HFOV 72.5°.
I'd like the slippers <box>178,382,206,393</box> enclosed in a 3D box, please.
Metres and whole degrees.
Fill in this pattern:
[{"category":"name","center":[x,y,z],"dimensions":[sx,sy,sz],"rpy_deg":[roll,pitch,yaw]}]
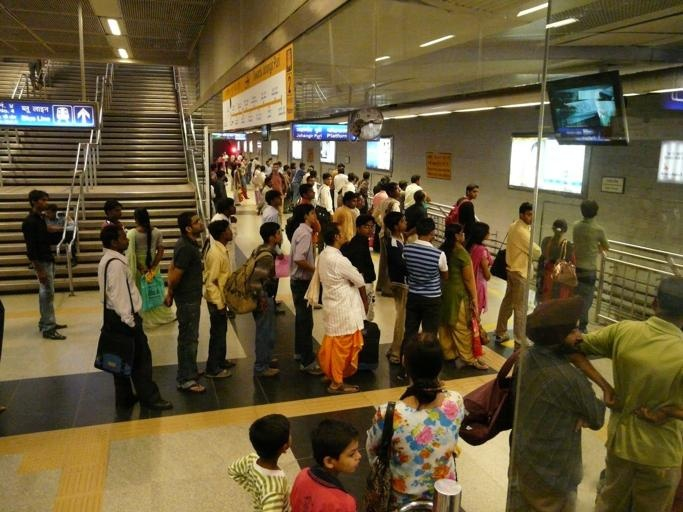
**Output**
[{"category":"slippers","center":[-1.745,1.528,5.470],"dimensions":[0.240,0.090,0.130],"rpy_deg":[2,8,-5]}]

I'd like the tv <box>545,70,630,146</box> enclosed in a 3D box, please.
[{"category":"tv","center":[0.952,-0.595,1.832],"dimensions":[0.268,0.284,0.037],"rpy_deg":[-5,7,-2]}]

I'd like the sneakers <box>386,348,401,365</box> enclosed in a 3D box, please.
[{"category":"sneakers","center":[0.697,1.344,6.224],"dimensions":[0.139,0.308,0.423],"rpy_deg":[1,-12,-4]}]

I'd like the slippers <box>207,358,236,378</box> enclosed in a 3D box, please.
[{"category":"slippers","center":[-1.483,1.419,5.857],"dimensions":[0.285,0.102,0.160],"rpy_deg":[-16,41,-37]}]

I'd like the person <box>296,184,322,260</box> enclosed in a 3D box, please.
[{"category":"person","center":[-0.577,-0.543,8.452],"dimensions":[0.429,1.526,0.409],"rpy_deg":[2,21,1]}]

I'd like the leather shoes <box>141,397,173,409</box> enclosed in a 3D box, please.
[{"category":"leather shoes","center":[-1.975,1.599,5.089],"dimensions":[0.344,0.145,0.130],"rpy_deg":[1,5,-10]}]

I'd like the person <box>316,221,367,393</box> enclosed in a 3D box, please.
[{"category":"person","center":[0.007,0.613,5.339],"dimensions":[0.571,1.938,0.336],"rpy_deg":[0,13,-3]}]

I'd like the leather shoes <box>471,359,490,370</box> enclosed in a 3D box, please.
[{"category":"leather shoes","center":[1.764,1.408,6.074],"dimensions":[0.299,0.127,0.105],"rpy_deg":[1,23,-4]}]

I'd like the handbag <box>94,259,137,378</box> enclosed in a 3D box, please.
[{"category":"handbag","center":[-2.251,0.654,4.712],"dimensions":[0.436,1.263,0.207],"rpy_deg":[14,24,1]}]

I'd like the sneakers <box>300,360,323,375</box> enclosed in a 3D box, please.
[{"category":"sneakers","center":[-0.369,1.411,5.926],"dimensions":[0.320,0.152,0.117],"rpy_deg":[-2,9,-26]}]

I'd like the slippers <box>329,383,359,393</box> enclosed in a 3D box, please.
[{"category":"slippers","center":[0.020,1.510,5.468],"dimensions":[0.275,0.106,0.140],"rpy_deg":[-2,3,-6]}]
